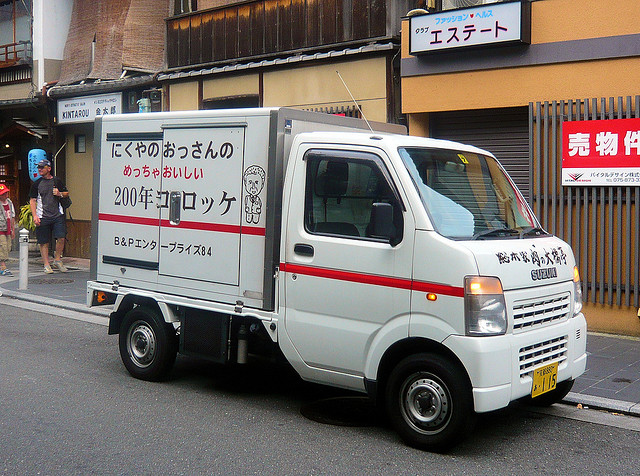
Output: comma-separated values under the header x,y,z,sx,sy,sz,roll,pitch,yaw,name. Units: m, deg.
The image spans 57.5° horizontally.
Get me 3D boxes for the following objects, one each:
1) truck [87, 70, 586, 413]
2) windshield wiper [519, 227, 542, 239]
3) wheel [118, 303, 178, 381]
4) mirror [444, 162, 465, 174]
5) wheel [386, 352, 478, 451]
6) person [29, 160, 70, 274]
x,y,z,sx,sy,sz,roll,pitch,yaw,name
-0.165,0.225,7.190,5.261,3.194,2.661,3,1,32,truck
2.089,-0.048,5.844,0.032,0.034,0.179,25,40,38,windshield wiper
-2.062,1.244,7.007,0.790,0.987,0.285,5,-1,37,wheel
1.347,-0.713,5.875,0.090,0.108,0.329,5,7,41,mirror
1.001,1.455,5.189,0.776,0.905,0.303,-4,-8,41,wheel
-6.831,-0.538,14.686,0.851,2.831,0.501,-2,5,-27,person
